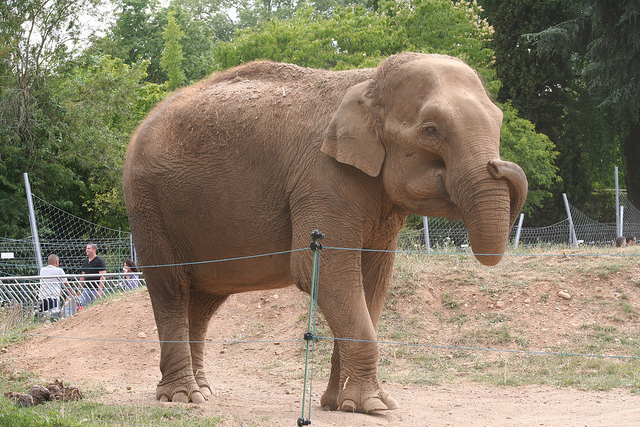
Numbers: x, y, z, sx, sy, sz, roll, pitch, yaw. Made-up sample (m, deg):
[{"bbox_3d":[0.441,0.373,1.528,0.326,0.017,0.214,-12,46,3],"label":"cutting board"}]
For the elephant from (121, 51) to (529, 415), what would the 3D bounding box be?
[{"bbox_3d":[-0.010,0.400,15.568,7.919,6.241,3.238,-4,-4,20],"label":"elephant"}]

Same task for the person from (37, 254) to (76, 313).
[{"bbox_3d":[-7.017,1.835,21.413,0.871,1.508,1.859,0,-2,-19],"label":"person"}]
